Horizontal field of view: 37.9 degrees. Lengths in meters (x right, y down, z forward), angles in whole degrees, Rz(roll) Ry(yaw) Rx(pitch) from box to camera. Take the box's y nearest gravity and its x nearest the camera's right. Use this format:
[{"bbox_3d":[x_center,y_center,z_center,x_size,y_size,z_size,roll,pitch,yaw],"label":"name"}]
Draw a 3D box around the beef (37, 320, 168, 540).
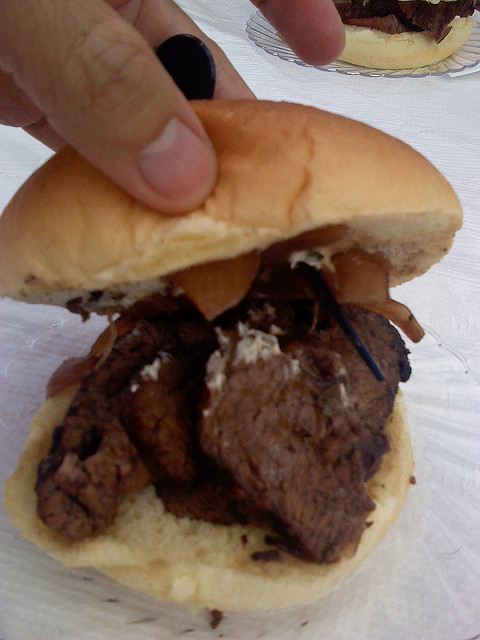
[{"bbox_3d":[-0.228,0.208,1.409,0.273,0.120,0.443,4,72,38],"label":"beef"}]
